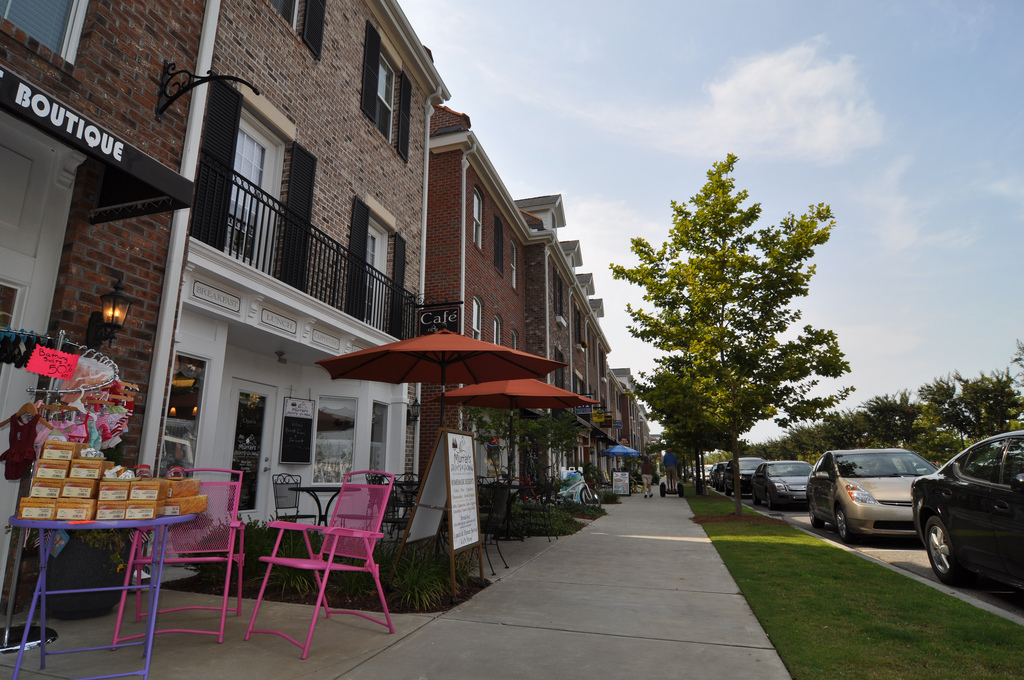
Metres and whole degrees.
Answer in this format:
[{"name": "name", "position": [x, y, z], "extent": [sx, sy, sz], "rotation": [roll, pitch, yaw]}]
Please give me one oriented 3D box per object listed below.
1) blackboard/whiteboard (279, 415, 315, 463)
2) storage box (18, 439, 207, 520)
[{"name": "blackboard/whiteboard", "position": [-4.493, 2.035, 12.948], "extent": [0.125, 0.968, 0.868], "rotation": [-11, -18, 28]}, {"name": "storage box", "position": [-3.985, 1.408, 6.273], "extent": [1.428, 0.774, 0.571], "rotation": [11, -18, -36]}]
